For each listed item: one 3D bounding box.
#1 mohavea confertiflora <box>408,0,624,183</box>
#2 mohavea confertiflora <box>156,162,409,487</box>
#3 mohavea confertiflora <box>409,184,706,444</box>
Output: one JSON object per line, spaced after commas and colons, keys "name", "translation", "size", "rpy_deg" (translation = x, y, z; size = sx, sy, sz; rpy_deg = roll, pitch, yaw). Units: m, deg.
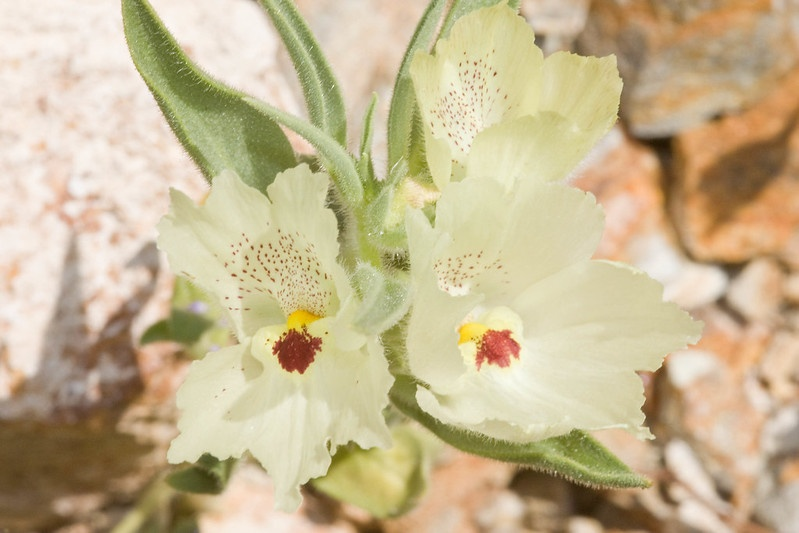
{"name": "mohavea confertiflora", "translation": [0.408, -0.581, 3.307], "size": [0.700, 0.187, 0.618], "rpy_deg": [-12, 81, -1]}
{"name": "mohavea confertiflora", "translation": [-0.319, 0.178, 3.146], "size": [0.918, 0.376, 1.103], "rpy_deg": [5, 66, -12]}
{"name": "mohavea confertiflora", "translation": [0.501, 0.140, 3.183], "size": [0.948, 0.220, 0.842], "rpy_deg": [0, 81, 1]}
